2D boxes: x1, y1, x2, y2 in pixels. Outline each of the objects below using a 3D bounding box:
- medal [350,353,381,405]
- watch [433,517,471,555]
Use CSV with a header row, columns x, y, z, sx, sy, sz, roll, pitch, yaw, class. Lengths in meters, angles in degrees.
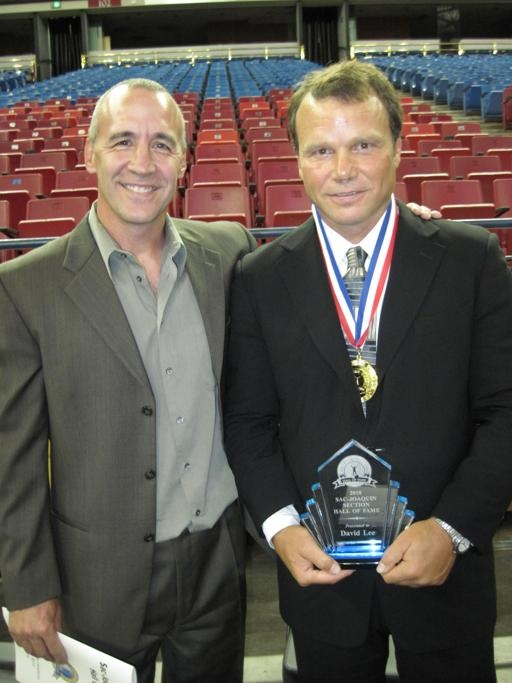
x,y,z,sx,sy,sz,roll,pitch,yaw,class
0.228,0.085,1.229,0.048,0.084,0.049,-4,9,2,medal
0.388,0.387,1.177,0.053,0.054,0.054,-48,-4,-20,watch
